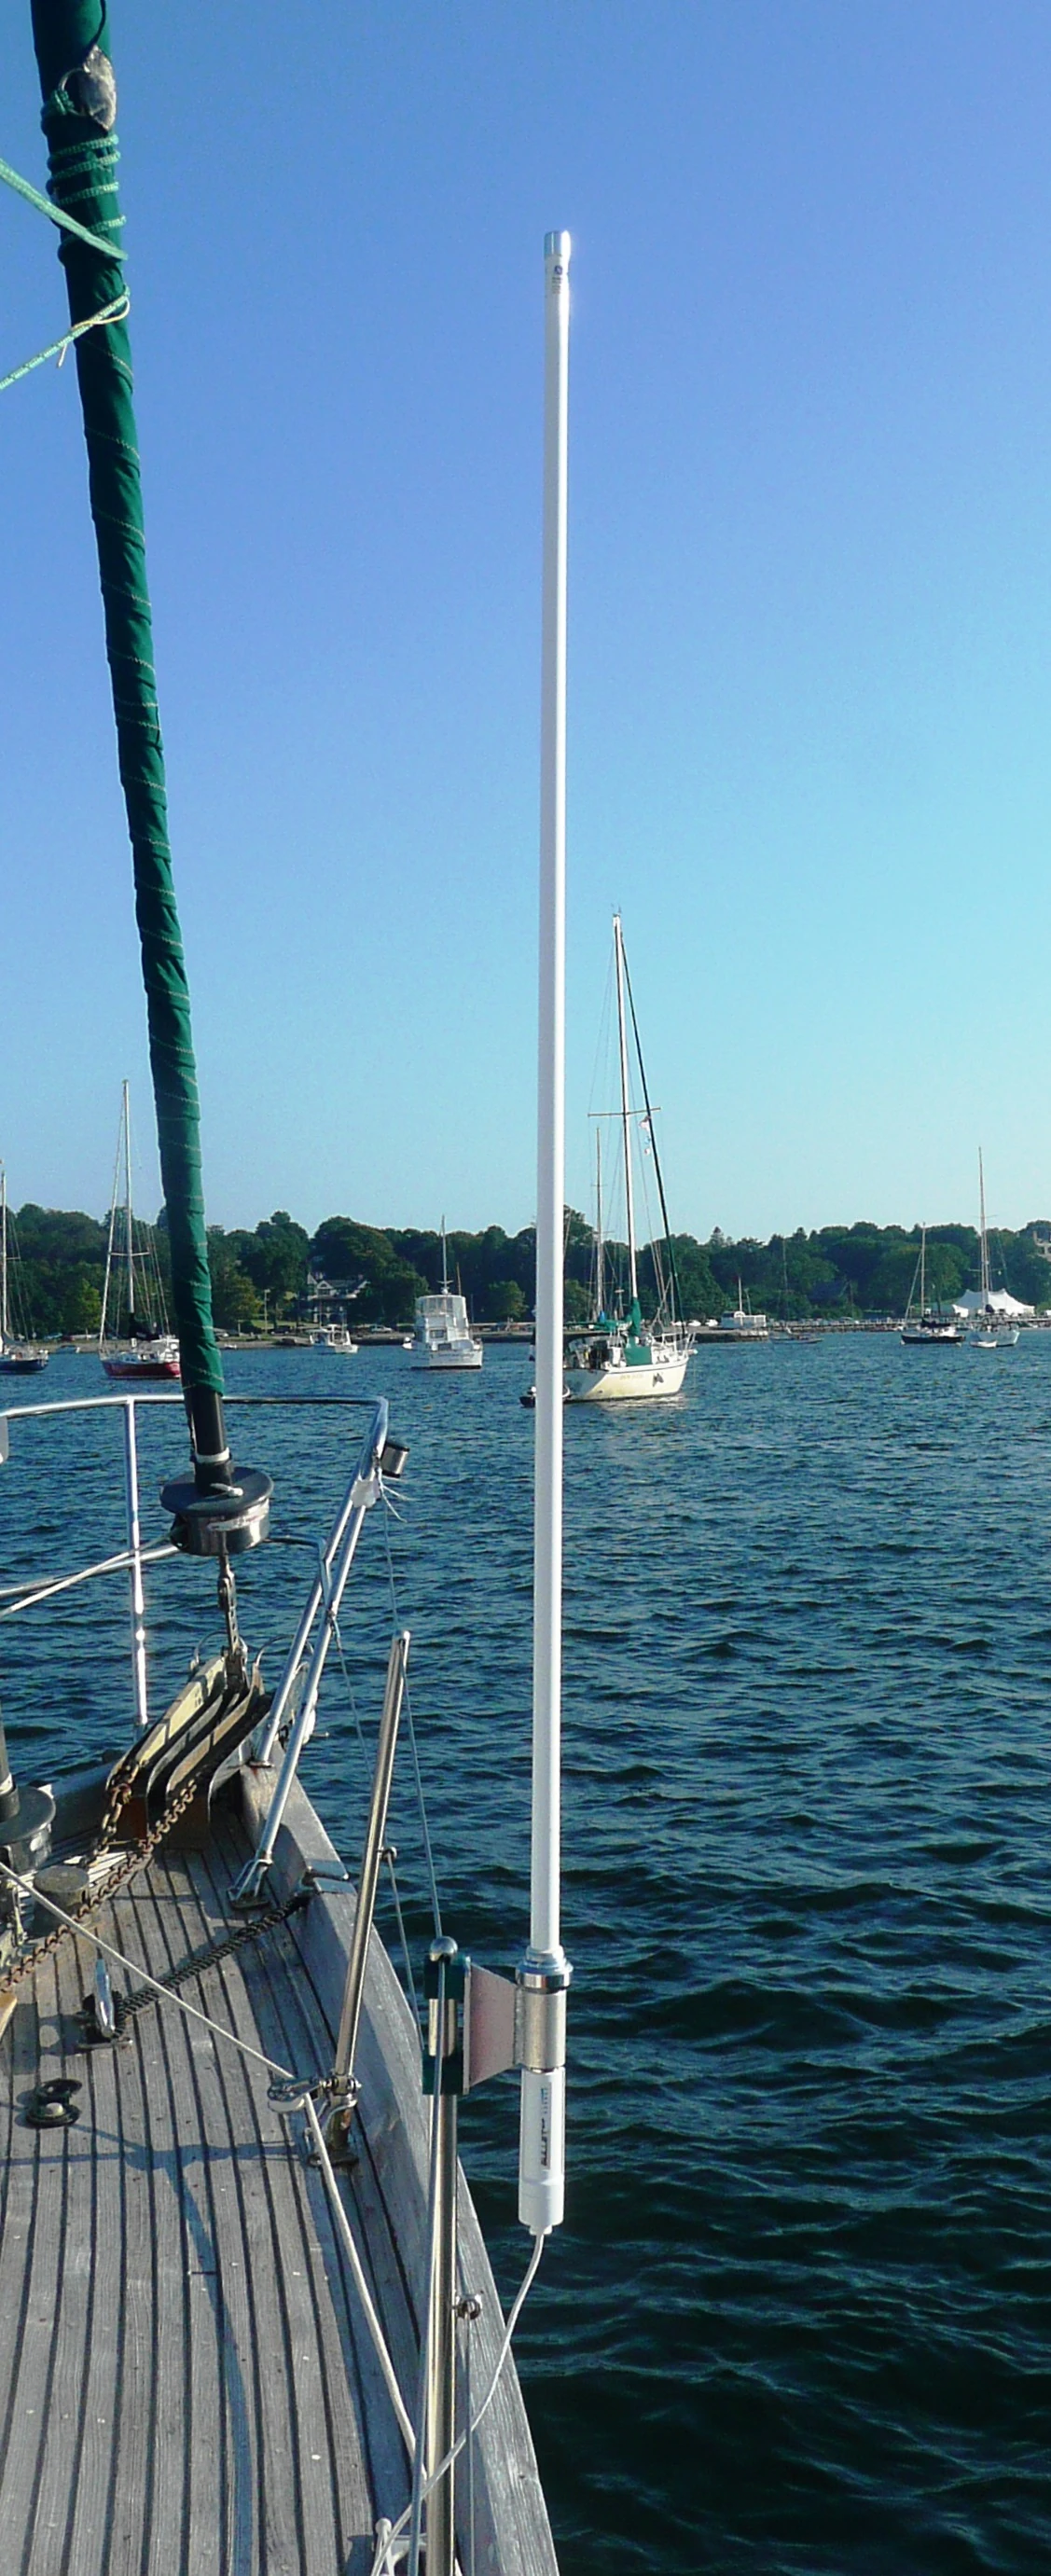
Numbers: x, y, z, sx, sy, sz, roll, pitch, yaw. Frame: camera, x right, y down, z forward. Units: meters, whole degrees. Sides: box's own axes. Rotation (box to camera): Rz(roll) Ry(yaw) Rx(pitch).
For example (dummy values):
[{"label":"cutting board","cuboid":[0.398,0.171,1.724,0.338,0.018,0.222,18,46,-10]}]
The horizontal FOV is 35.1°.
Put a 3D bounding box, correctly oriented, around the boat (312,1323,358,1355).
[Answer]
[{"label":"boat","cuboid":[-12.854,3.451,113.360,1.678,2.297,4.554,-1,-8,0]}]
